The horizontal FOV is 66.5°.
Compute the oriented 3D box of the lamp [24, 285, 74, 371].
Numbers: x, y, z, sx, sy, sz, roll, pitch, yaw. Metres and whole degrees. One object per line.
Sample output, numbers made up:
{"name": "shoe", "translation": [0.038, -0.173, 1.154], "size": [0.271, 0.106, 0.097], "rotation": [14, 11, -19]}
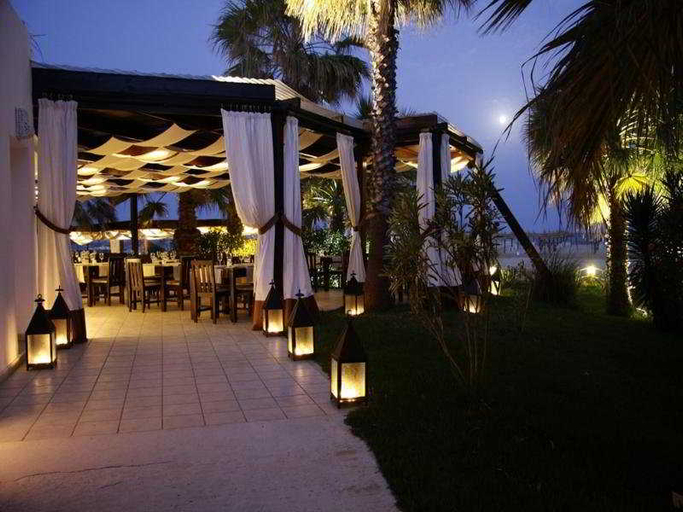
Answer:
{"name": "lamp", "translation": [-3.517, 0.889, 6.223], "size": [0.224, 0.836, 0.771], "rotation": [0, -1, -4]}

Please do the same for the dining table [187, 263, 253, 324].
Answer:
{"name": "dining table", "translation": [-2.051, 0.588, 9.015], "size": [0.736, 0.980, 1.285], "rotation": [1, 2, 9]}
